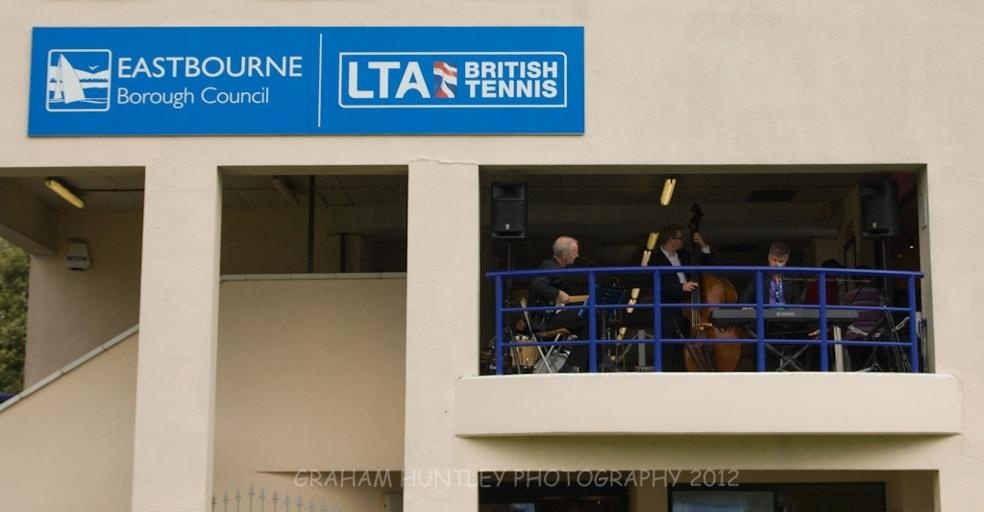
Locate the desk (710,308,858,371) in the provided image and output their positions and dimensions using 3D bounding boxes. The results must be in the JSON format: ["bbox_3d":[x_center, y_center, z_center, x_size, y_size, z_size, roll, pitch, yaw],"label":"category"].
[{"bbox_3d":[4.821,1.127,27.675,2.670,1.565,1.294,0,-7,4],"label":"desk"}]

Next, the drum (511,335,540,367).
[{"bbox_3d":[0.488,1.560,27.002,0.514,0.588,0.494,-7,-20,4],"label":"drum"}]

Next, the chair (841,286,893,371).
[{"bbox_3d":[5.997,1.226,27.207,0.540,1.597,0.944,3,0,-16],"label":"chair"}]

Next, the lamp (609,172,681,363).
[{"bbox_3d":[2.896,0.360,27.831,1.259,3.130,0.877,6,-7,9],"label":"lamp"}]

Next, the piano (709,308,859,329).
[{"bbox_3d":[4.710,1.029,26.603,2.322,0.285,0.417,1,-19,2],"label":"piano"}]

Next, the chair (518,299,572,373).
[{"bbox_3d":[0.848,1.392,27.052,0.880,1.106,0.749,0,-8,2],"label":"chair"}]
